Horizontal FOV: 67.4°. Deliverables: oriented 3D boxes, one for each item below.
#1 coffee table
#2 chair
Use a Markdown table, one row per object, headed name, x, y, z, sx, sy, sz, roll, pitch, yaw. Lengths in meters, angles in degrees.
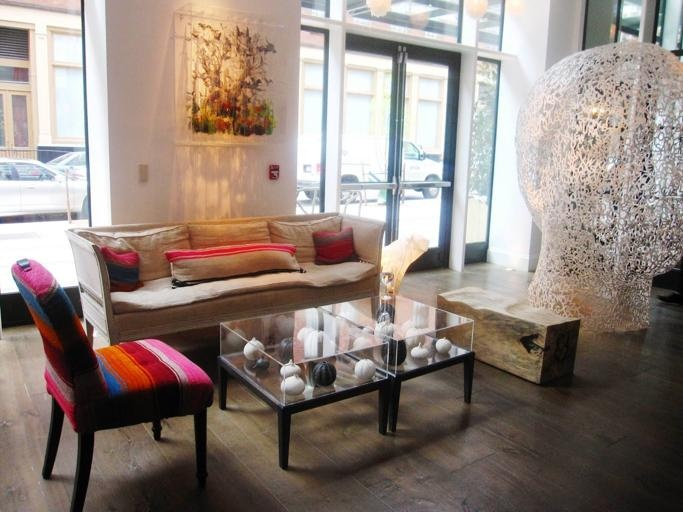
| name | x | y | z | sx | sy | sz | roll | pitch | yaw |
| --- | --- | --- | --- | --- | --- | --- | --- | --- | --- |
| coffee table | 0.030 | 0.700 | 3.350 | 1.512 | 0.685 | 0.782 | -7 | 13 | -29 |
| chair | -1.123 | 0.602 | 2.602 | 0.766 | 1.207 | 0.613 | -9 | 14 | -35 |
